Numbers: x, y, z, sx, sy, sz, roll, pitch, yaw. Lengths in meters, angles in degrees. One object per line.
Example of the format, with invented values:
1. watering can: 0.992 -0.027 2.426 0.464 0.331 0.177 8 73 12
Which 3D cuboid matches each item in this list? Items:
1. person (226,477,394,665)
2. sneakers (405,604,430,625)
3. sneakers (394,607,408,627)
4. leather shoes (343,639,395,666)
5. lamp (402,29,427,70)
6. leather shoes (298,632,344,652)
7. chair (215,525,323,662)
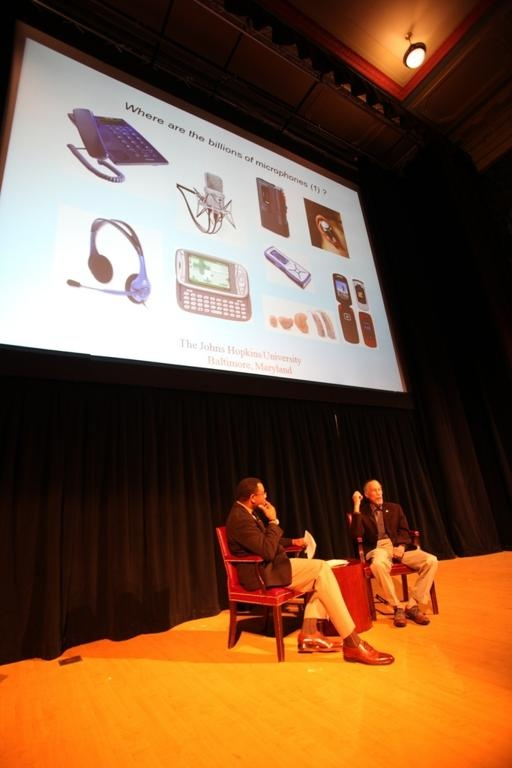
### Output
1. person: 0.173 1.278 3.433 1.112 1.531 0.617 -7 -16 0
2. sneakers: 1.026 1.482 3.258 0.069 0.091 0.212 1 -19 -11
3. sneakers: 0.912 1.476 3.241 0.085 0.105 0.196 -13 -15 16
4. leather shoes: 0.580 1.391 2.691 0.269 0.132 0.104 -12 -13 31
5. lamp: 1.778 -3.729 5.730 0.222 0.351 0.143 -13 12 -39
6. leather shoes: 0.359 1.465 2.932 0.174 0.079 0.114 2 -19 -6
7. chair: -0.001 1.254 3.134 0.465 0.671 0.420 -6 -17 25
